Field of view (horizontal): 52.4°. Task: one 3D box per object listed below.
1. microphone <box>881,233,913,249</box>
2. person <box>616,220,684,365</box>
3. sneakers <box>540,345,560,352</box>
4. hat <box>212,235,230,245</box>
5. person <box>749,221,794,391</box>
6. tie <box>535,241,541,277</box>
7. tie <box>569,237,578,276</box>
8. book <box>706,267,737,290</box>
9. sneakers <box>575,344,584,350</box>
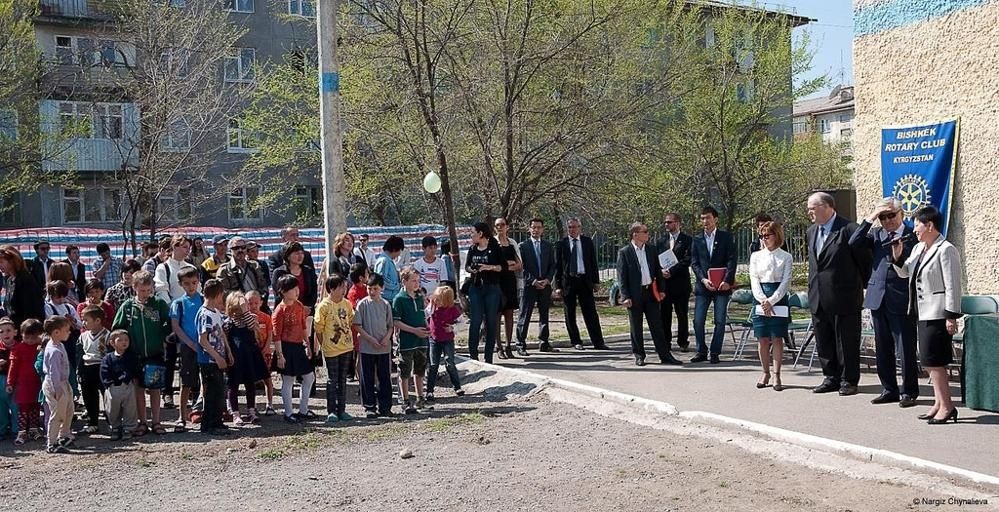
[{"bbox_3d":[8.456,-0.385,21.669,0.758,0.198,0.201,-19,30,25],"label":"microphone"},{"bbox_3d":[3.677,0.892,25.259,1.467,3.523,0.963,-2,-2,4],"label":"person"},{"bbox_3d":[1.375,2.443,26.927,0.583,0.213,0.185,1,1,-13],"label":"sneakers"},{"bbox_3d":[-6.645,-0.430,24.187,0.264,0.229,0.679,-1,-3,-17],"label":"hat"},{"bbox_3d":[6.119,1.082,22.861,0.856,2.511,0.688,-2,-2,7],"label":"person"},{"bbox_3d":[0.998,-0.001,26.664,0.197,0.851,0.094,-1,-2,-28],"label":"tie"},{"bbox_3d":[2.025,-0.038,26.884,0.279,0.882,0.061,-2,-2,0],"label":"tie"},{"bbox_3d":[5.430,0.545,25.102,0.678,0.589,0.277,-2,-2,-1],"label":"book"},{"bbox_3d":[2.116,2.413,27.228,0.100,0.090,0.238,1,-5,-39],"label":"sneakers"}]
